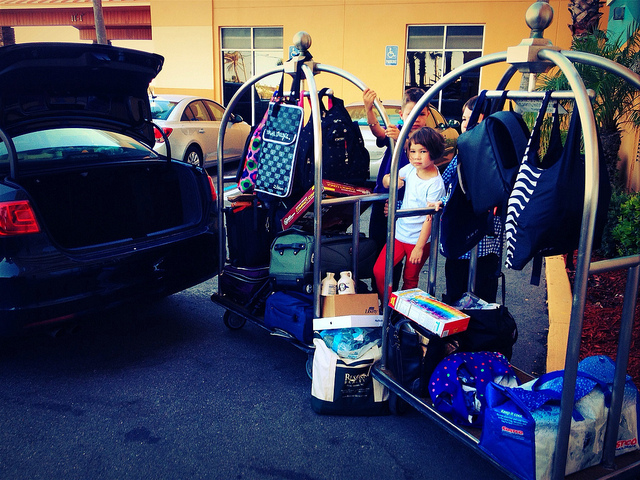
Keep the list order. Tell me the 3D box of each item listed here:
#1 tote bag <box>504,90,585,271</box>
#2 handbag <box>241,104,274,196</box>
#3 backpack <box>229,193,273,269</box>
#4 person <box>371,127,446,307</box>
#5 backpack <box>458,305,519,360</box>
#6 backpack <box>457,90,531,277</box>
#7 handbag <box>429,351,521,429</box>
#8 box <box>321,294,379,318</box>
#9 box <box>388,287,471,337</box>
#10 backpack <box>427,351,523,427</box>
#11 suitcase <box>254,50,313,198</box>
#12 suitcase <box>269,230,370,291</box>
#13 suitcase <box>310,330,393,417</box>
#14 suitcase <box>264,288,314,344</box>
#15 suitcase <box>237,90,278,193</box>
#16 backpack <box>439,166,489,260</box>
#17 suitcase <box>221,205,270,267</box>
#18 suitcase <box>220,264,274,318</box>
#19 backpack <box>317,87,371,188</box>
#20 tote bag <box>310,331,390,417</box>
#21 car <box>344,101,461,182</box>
[{"bbox_3d":[1.195,-0.329,2.766,0.412,0.972,0.335,6,0,-23],"label":"tote bag"},{"bbox_3d":[-0.488,-0.679,4.202,0.252,0.721,0.305,-3,14,-11],"label":"handbag"},{"bbox_3d":[-0.573,-0.088,4.444,0.310,0.659,0.461,11,15,38],"label":"backpack"},{"bbox_3d":[0.646,-0.108,4.033,0.512,1.425,1.483,1,14,6],"label":"person"},{"bbox_3d":[1.012,0.515,3.250,0.330,0.370,0.250,3,9,25],"label":"backpack"},{"bbox_3d":[0.960,-0.326,3.024,0.318,1.085,0.418,-2,6,-23],"label":"backpack"},{"bbox_3d":[0.914,0.813,3.048,0.452,0.193,0.455,-17,-8,-44],"label":"handbag"},{"bbox_3d":[0.197,0.434,3.665,0.213,0.109,0.220,0,0,-27],"label":"box"},{"bbox_3d":[0.654,0.437,3.289,0.265,0.110,0.467,1,17,-34],"label":"box"},{"bbox_3d":[0.864,0.772,3.124,0.464,0.183,0.453,-20,18,28],"label":"backpack"},{"bbox_3d":[-0.304,-0.802,4.021,0.374,1.130,0.379,21,23,39],"label":"suitcase"},{"bbox_3d":[-0.031,0.124,4.031,0.454,0.389,0.599,9,11,40],"label":"suitcase"},{"bbox_3d":[0.160,0.889,3.681,0.509,0.477,0.528,-2,19,-12],"label":"suitcase"},{"bbox_3d":[-0.165,0.534,4.025,0.369,0.319,0.443,-11,21,-42],"label":"suitcase"},{"bbox_3d":[-0.507,-0.749,4.255,0.248,0.787,0.256,-16,27,-41],"label":"suitcase"},{"bbox_3d":[0.929,-0.162,3.442,0.226,0.558,0.264,7,19,19],"label":"backpack"},{"bbox_3d":[-0.625,-0.039,4.536,0.404,0.519,0.194,-1,14,0],"label":"suitcase"},{"bbox_3d":[-0.623,0.373,4.437,0.327,0.474,0.422,8,17,-36],"label":"suitcase"},{"bbox_3d":[0.133,-0.745,4.058,0.306,0.749,0.640,9,17,36],"label":"backpack"},{"bbox_3d":[0.232,0.941,3.599,0.533,0.535,0.305,1,-16,6],"label":"tote bag"},{"bbox_3d":[1.386,-1.504,9.253,1.446,1.152,2.766,5,20,23],"label":"car"}]
